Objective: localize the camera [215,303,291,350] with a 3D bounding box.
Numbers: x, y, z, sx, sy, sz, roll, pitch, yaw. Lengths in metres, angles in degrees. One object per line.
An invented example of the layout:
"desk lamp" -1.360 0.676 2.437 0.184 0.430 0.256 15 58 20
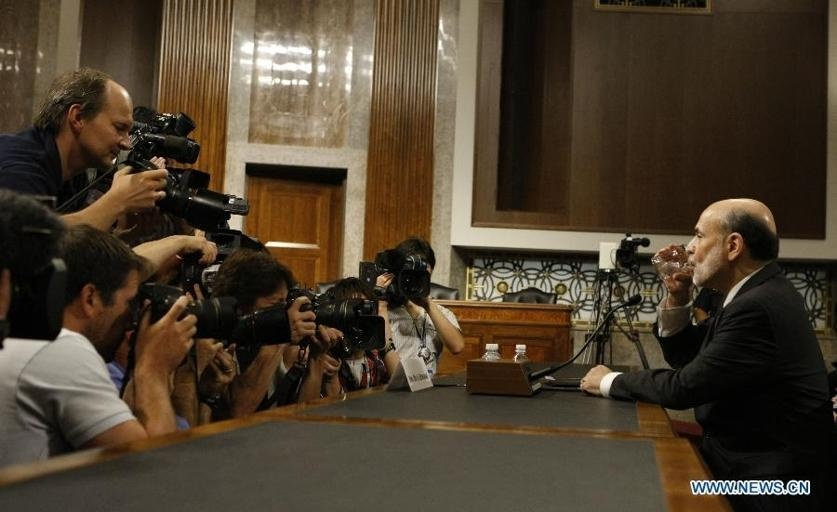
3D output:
"camera" -0.622 0.258 2.395 0.229 0.128 0.145 -15 1 0

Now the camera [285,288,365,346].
"camera" -0.450 0.265 2.874 0.344 0.219 0.379 8 0 44

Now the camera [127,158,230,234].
"camera" -1.104 -0.300 3.102 0.501 0.214 0.292 26 34 -26

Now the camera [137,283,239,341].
"camera" -0.848 0.227 2.318 0.249 0.233 0.145 2 35 -2
